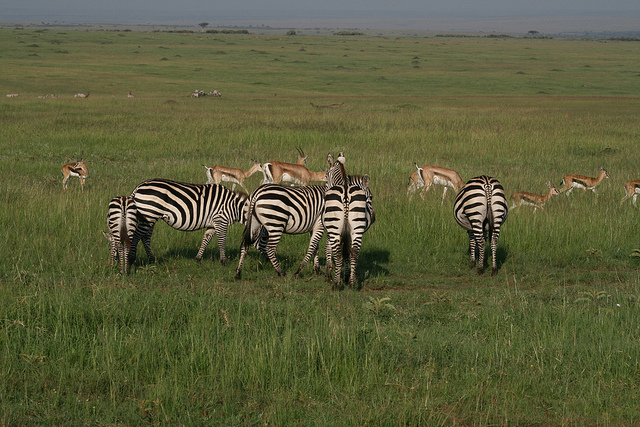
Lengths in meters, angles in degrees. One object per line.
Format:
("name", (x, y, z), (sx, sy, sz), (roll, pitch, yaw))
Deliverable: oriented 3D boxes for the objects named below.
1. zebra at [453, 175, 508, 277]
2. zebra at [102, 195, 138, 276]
("zebra", (5.777, -0.020, 31.347), (1.774, 4.097, 5.221), (-2, 4, 2))
("zebra", (-6.516, 0.740, 28.322), (1.011, 2.548, 0.644), (-2, 9, -16))
